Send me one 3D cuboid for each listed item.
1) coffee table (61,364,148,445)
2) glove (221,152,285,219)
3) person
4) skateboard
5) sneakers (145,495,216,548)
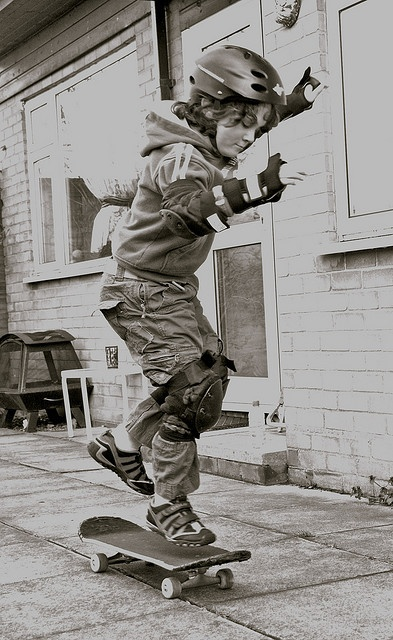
[{"bbox_3d":[-0.876,0.686,6.058,0.754,0.560,0.777,-2,-2,-14],"label":"coffee table"},{"bbox_3d":[0.171,-0.355,1.843,0.226,0.082,0.179,-11,-2,30],"label":"glove"},{"bbox_3d":[-0.013,-0.088,2.129,0.565,1.571,0.877,-1,-3,-17],"label":"person"},{"bbox_3d":[-0.145,0.738,2.199,0.225,0.148,0.688,-2,1,-41],"label":"skateboard"},{"bbox_3d":[-0.058,0.644,2.168,0.116,0.136,0.317,3,-1,-33],"label":"sneakers"}]
